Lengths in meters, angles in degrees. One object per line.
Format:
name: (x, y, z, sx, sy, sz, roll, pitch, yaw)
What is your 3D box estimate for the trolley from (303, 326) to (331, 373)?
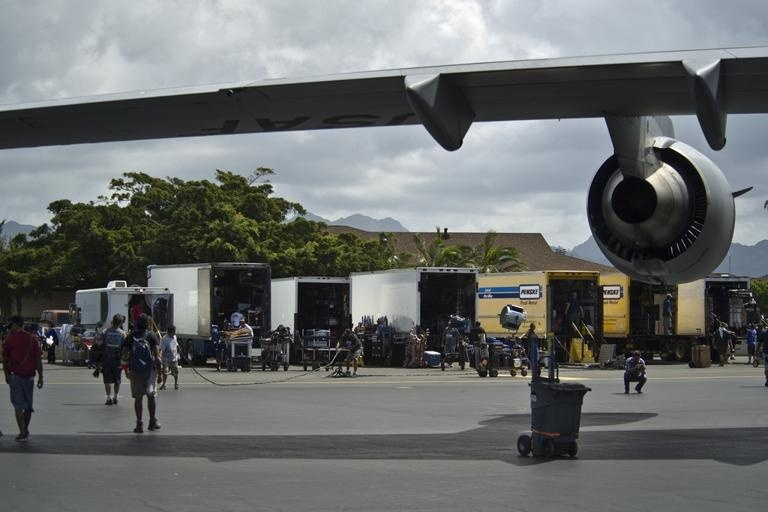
trolley: (-2.633, 3.539, 39.483, 1.243, 1.455, 1.348, 1, 2, -39)

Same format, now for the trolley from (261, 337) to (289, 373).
trolley: (-3.980, 3.532, 37.861, 0.819, 1.196, 1.220, -3, -2, -37)

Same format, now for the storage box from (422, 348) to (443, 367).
storage box: (1.812, 3.790, 38.502, 0.591, 0.534, 0.594, 7, -11, -36)

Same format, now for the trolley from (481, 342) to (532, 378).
trolley: (4.178, 3.408, 35.580, 1.568, 1.161, 1.312, 2, 16, -10)

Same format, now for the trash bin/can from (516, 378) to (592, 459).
trash bin/can: (3.379, 3.137, 20.151, 1.081, 1.581, 1.184, -3, -1, 31)

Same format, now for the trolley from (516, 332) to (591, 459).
trolley: (3.301, 2.756, 20.352, 1.183, 2.481, 1.281, 0, -1, 41)

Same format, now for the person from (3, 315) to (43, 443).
person: (-7.706, 2.538, 21.743, 0.799, 2.613, 1.359, 2, -7, -19)

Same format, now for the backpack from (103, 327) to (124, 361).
backpack: (-6.792, 2.165, 25.792, 0.793, 0.778, 0.404, -5, -8, 35)

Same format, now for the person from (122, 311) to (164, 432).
person: (-5.272, 2.493, 22.464, 0.858, 2.486, 0.891, -1, 0, -10)

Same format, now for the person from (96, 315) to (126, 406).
person: (-7.278, 2.872, 27.267, 0.794, 2.592, 0.986, 0, -1, -15)

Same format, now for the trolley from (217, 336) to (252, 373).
trolley: (-5.406, 3.498, 36.920, 1.066, 1.254, 1.774, 2, -7, -18)
